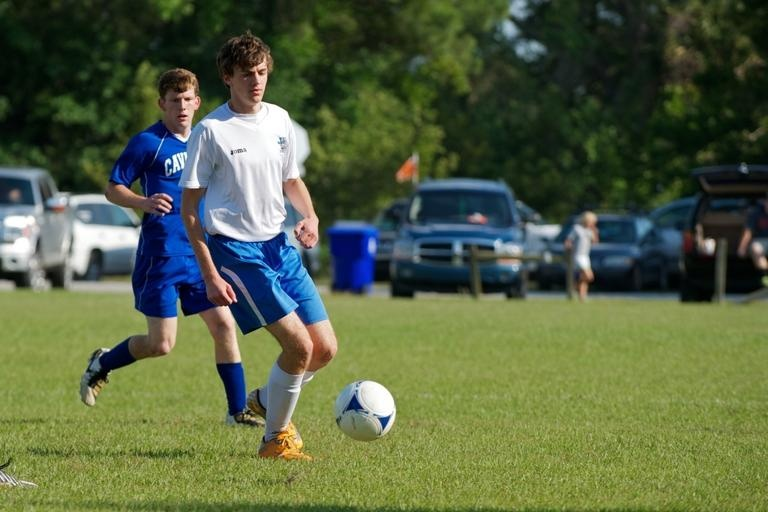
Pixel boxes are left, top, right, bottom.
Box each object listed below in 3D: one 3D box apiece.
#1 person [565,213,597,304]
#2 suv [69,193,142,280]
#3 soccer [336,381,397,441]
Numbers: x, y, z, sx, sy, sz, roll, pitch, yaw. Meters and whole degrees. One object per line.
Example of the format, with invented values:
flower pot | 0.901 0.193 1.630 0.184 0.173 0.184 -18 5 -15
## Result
person | 2.241 0.055 16.011 0.331 0.999 0.310 0 0 1
suv | -5.678 -0.316 28.075 1.158 1.777 2.705 2 -3 -6
soccer | -0.218 1.729 14.945 0.623 0.645 0.315 -2 12 -4
